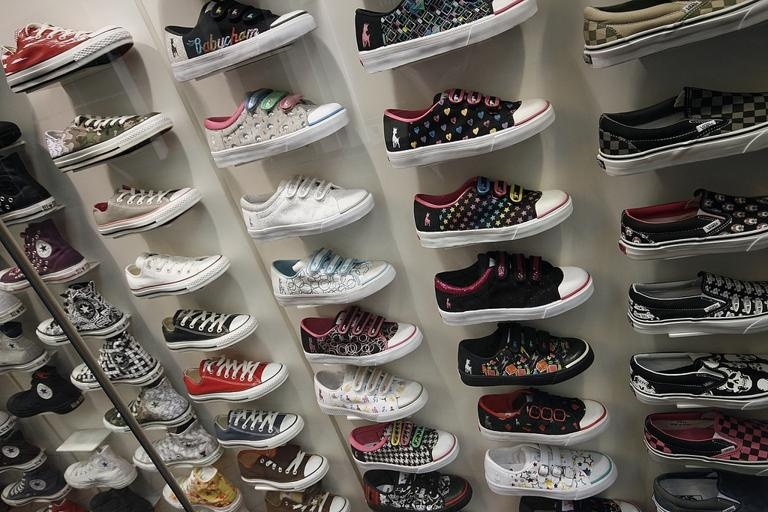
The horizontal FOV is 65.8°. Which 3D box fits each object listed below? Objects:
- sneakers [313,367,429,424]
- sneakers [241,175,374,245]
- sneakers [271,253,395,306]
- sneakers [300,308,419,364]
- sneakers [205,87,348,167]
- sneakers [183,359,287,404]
[{"bbox_3d":[-0.055,0.573,2.435,0.470,0.213,0.218,-1,26,9],"label":"sneakers"},{"bbox_3d":[-0.295,-0.172,2.334,0.489,0.216,0.228,-10,24,13],"label":"sneakers"},{"bbox_3d":[-0.203,0.095,2.402,0.505,0.209,0.207,-5,20,13],"label":"sneakers"},{"bbox_3d":[-0.084,0.327,2.470,0.506,0.215,0.214,-4,23,11],"label":"sneakers"},{"bbox_3d":[-0.420,-0.485,2.285,0.568,0.254,0.235,-12,21,18],"label":"sneakers"},{"bbox_3d":[-0.614,0.527,2.572,0.448,0.199,0.189,-7,30,11],"label":"sneakers"}]
